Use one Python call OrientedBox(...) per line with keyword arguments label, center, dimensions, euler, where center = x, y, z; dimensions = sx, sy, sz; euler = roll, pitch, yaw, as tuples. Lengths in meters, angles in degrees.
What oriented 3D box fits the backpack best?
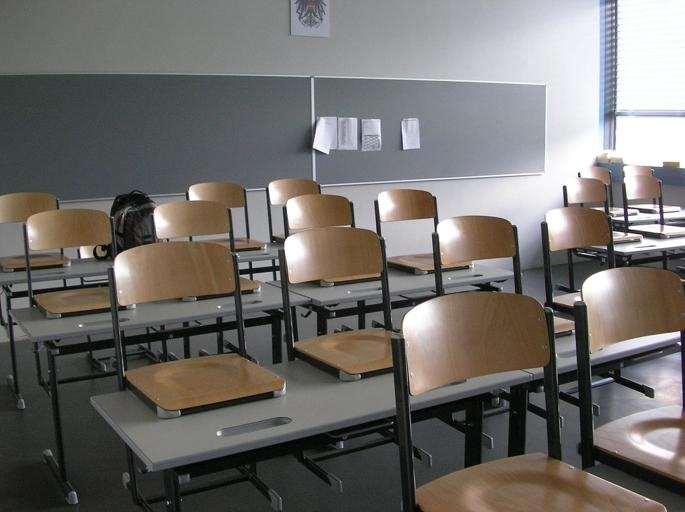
OrientedBox(label="backpack", center=(-1.561, -0.227, 3.975), dimensions=(0.290, 0.415, 0.396), euler=(-6, 4, -39))
